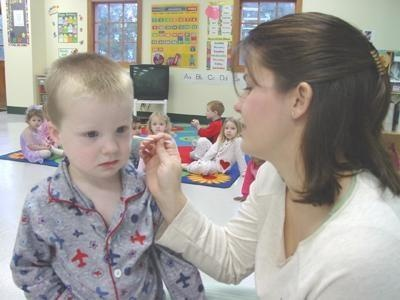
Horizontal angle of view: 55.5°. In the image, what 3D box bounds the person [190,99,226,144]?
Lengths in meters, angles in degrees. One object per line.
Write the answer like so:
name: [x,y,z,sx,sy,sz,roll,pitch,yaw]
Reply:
person: [0.142,-0.400,5.303,0.525,0.844,0.518,2,6,3]
